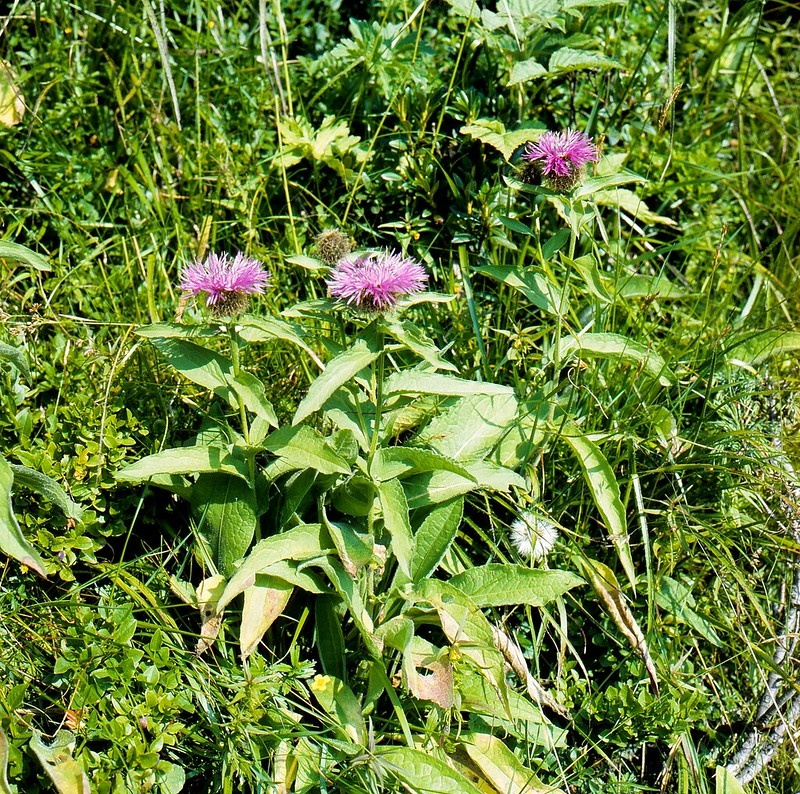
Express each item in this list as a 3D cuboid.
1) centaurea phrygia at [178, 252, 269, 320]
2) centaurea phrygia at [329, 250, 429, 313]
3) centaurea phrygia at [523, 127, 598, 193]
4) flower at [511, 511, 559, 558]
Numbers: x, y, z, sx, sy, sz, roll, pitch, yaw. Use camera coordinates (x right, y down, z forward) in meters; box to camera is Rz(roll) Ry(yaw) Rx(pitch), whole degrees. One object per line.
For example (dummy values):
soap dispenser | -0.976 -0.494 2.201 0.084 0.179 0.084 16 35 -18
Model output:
centaurea phrygia | -0.434 -0.262 2.300 0.179 0.150 0.186 18 39 31
centaurea phrygia | -0.063 -0.268 2.202 0.172 0.113 0.176 15 30 38
centaurea phrygia | 0.439 -0.641 2.543 0.142 0.152 0.160 6 1 -13
flower | 0.370 0.396 2.613 0.121 0.067 0.134 14 47 2
